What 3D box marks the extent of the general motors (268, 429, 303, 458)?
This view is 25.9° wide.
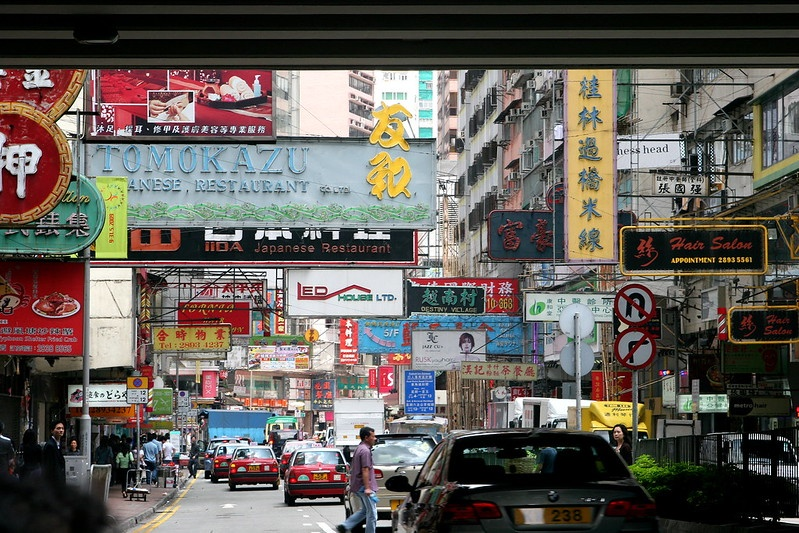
[{"bbox_3d":[-6.034,9.843,95.580,2.045,1.704,3.257,0,1,-6],"label":"general motors"}]

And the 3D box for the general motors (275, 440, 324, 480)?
[{"bbox_3d":[-3.812,7.226,67.856,1.816,1.129,3.584,0,0,-4],"label":"general motors"}]

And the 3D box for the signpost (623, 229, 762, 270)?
[{"bbox_3d":[7.551,-0.473,44.811,4.036,1.249,0.188,0,3,-12],"label":"signpost"}]

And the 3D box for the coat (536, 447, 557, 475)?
[{"bbox_3d":[2.773,3.548,32.454,0.557,0.508,0.306,3,4,-29],"label":"coat"}]

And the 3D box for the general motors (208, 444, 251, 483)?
[{"bbox_3d":[-6.756,7.525,67.528,1.365,0.892,2.902,0,-2,-6],"label":"general motors"}]

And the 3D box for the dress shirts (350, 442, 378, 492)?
[{"bbox_3d":[-0.727,4.303,38.130,0.653,0.942,0.906,2,3,-11],"label":"dress shirts"}]

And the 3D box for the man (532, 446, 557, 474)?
[{"bbox_3d":[2.733,3.536,32.483,0.538,0.602,0.232,5,6,-17],"label":"man"}]

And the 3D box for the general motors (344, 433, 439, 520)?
[{"bbox_3d":[-0.077,4.911,42.543,1.729,1.238,2.710,0,-1,-2],"label":"general motors"}]

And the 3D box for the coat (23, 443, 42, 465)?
[{"bbox_3d":[-8.505,4.317,40.657,0.568,0.537,0.319,1,2,-3],"label":"coat"}]

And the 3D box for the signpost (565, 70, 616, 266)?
[{"bbox_3d":[5.633,-2.987,51.120,1.646,5.636,0.637,-3,-9,5],"label":"signpost"}]

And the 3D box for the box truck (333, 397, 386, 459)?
[{"bbox_3d":[-0.684,6.129,66.609,2.227,2.081,3.680,-4,-10,22],"label":"box truck"}]

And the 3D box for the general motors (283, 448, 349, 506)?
[{"bbox_3d":[-2.422,6.163,51.794,1.376,0.893,2.286,0,1,-9],"label":"general motors"}]

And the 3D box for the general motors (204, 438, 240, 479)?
[{"bbox_3d":[-7.474,8.034,74.348,1.512,1.223,2.985,0,0,-5],"label":"general motors"}]

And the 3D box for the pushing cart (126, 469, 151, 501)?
[{"bbox_3d":[-7.799,6.741,54.116,0.909,0.978,1.249,2,-12,-11],"label":"pushing cart"}]
